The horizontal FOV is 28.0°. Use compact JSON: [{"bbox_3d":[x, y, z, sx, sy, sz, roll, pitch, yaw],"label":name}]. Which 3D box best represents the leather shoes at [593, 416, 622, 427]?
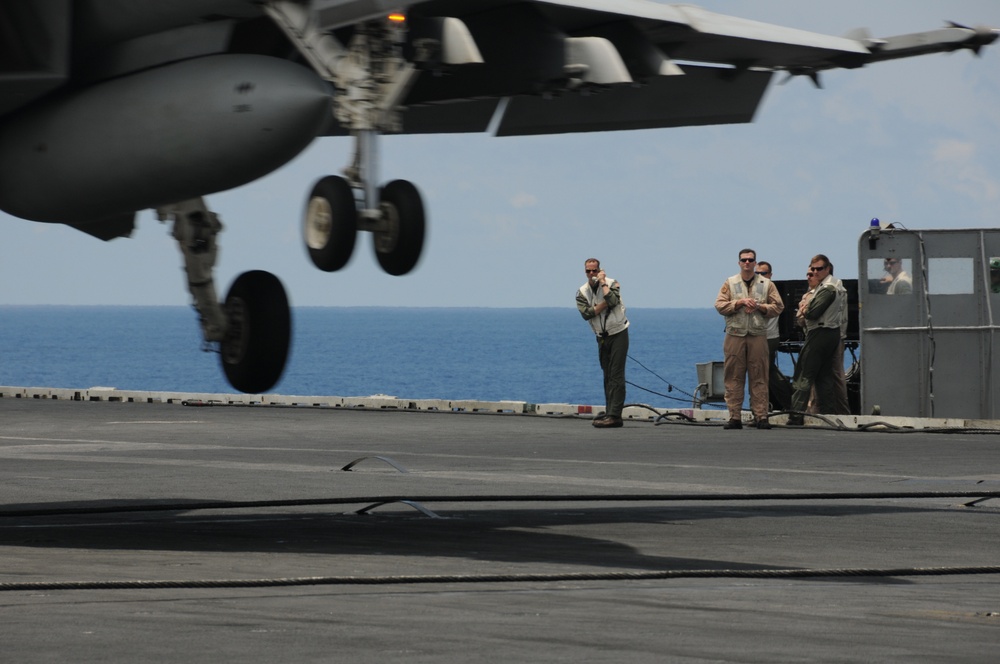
[{"bbox_3d":[1.227,1.003,23.076,0.346,0.115,0.114,4,2,-6],"label":"leather shoes"}]
